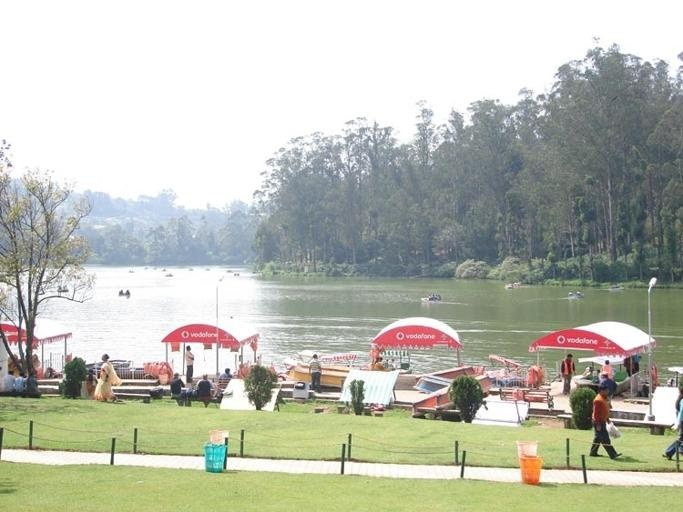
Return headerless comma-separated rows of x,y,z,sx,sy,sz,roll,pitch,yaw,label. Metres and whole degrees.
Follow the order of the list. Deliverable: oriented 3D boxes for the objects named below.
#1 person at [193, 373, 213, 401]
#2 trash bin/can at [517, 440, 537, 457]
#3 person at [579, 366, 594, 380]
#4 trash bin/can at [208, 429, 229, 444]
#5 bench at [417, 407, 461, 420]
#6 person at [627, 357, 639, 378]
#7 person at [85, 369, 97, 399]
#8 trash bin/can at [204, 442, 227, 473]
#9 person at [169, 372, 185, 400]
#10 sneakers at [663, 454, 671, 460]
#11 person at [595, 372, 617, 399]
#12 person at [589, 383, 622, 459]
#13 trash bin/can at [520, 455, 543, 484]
-7.773,7.609,68.967,0.974,1.277,1.097,-2,-4,22,person
8.799,9.164,58.066,0.823,0.833,0.668,-1,0,21,trash bin/can
14.310,6.800,70.802,0.653,0.944,0.383,-6,-41,38,person
-5.937,8.681,58.759,0.851,0.731,0.727,8,-10,-43,trash bin/can
5.265,8.672,66.991,2.390,0.643,0.903,0,-4,1,bench
17.122,6.439,72.031,0.791,1.237,2.977,-1,-4,11,person
-14.084,7.195,68.499,0.609,1.510,0.899,0,-4,-7,person
-6.047,9.597,58.131,1.186,1.291,1.180,-2,-6,29,trash bin/can
-9.427,7.423,69.491,0.730,1.481,1.628,0,-4,-9,person
15.896,9.783,59.641,0.171,0.414,0.139,-37,-21,8,sneakers
14.252,6.889,65.668,1.092,1.306,3.473,-1,-7,12,person
12.813,8.125,59.845,1.135,3.631,0.986,2,-4,-27,person
9.049,10.101,57.914,1.088,1.145,1.158,3,-2,-17,trash bin/can
